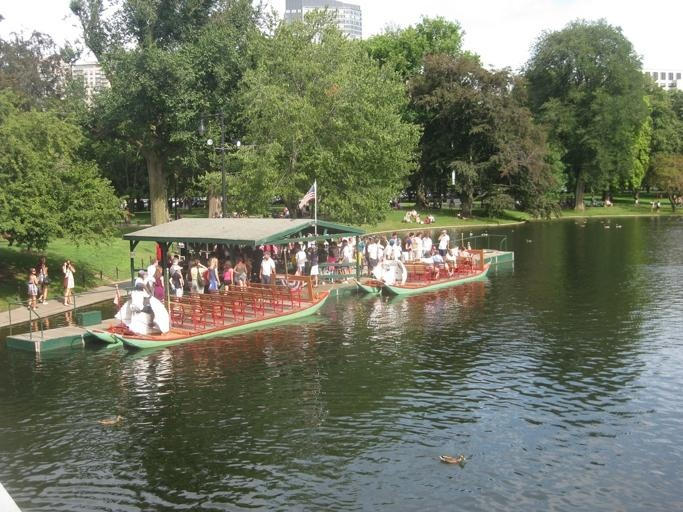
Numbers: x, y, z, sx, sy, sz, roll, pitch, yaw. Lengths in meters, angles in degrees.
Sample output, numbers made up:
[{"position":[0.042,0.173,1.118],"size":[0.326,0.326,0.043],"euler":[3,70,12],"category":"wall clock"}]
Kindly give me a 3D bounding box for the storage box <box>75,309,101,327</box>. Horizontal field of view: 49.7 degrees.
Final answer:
[{"position":[-11.540,2.848,33.696],"size":[0.956,0.592,1.235],"euler":[-5,4,-23],"category":"storage box"}]

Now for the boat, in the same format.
[{"position":[-3.577,0.227,43.743],"size":[13.500,5.615,28.111],"euler":[0,4,45],"category":"boat"}]
